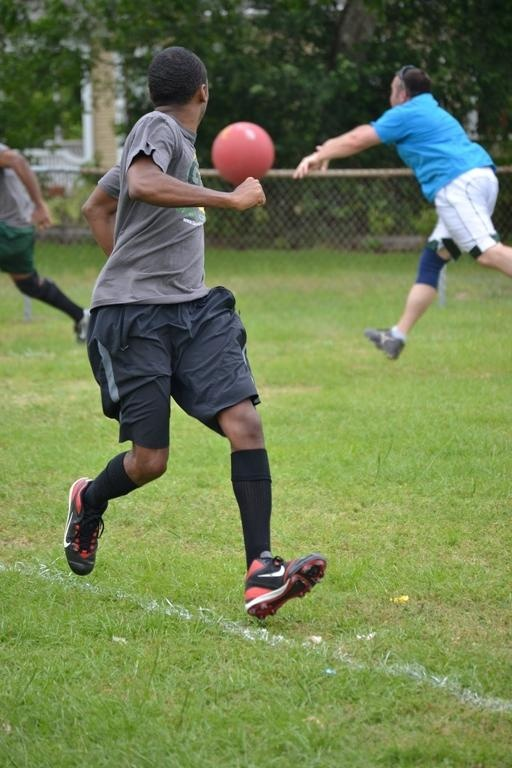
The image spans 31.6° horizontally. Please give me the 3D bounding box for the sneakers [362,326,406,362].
[{"bbox_3d":[0.597,-0.201,4.199,0.223,0.104,0.086,43,12,37],"label":"sneakers"}]

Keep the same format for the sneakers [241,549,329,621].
[{"bbox_3d":[0.095,0.543,2.590,0.115,0.301,0.159,24,41,-42],"label":"sneakers"}]

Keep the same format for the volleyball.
[{"bbox_3d":[-0.049,-0.889,3.469,0.278,0.242,0.232,-2,-2,-7],"label":"volleyball"}]

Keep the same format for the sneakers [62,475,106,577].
[{"bbox_3d":[-0.577,0.465,2.973,0.130,0.321,0.145,6,-24,-30],"label":"sneakers"}]
